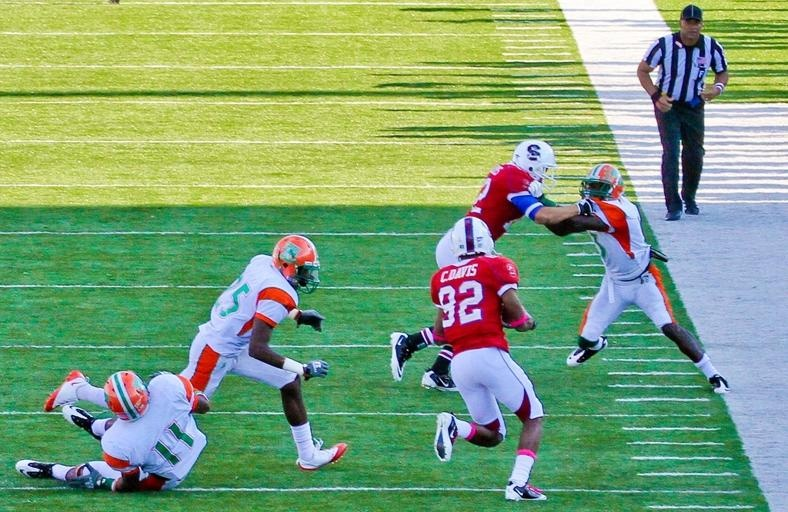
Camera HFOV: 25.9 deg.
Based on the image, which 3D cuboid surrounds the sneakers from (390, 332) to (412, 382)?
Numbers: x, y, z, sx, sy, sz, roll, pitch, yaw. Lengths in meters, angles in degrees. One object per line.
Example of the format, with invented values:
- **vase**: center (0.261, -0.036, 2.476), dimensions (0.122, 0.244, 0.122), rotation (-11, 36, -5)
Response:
- **sneakers**: center (0.024, 1.162, 19.762), dimensions (0.363, 0.508, 0.220), rotation (-3, -3, 15)

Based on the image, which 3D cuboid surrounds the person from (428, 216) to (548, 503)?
- **person**: center (0.980, 1.110, 18.538), dimensions (1.187, 3.005, 1.446), rotation (-2, 16, 3)

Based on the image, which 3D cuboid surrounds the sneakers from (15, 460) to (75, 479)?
- **sneakers**: center (-3.818, 2.319, 18.561), dimensions (0.751, 0.168, 0.222), rotation (6, -29, -6)

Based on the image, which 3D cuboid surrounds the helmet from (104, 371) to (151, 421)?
- **helmet**: center (-2.820, 1.488, 18.361), dimensions (0.512, 0.511, 0.532), rotation (-29, 8, -4)

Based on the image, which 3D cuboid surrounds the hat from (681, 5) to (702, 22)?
- **hat**: center (3.862, -3.161, 22.175), dimensions (0.271, 0.141, 0.306), rotation (3, 12, 6)

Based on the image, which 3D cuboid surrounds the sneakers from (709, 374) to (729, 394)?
- **sneakers**: center (3.766, 1.474, 19.720), dimensions (0.248, 0.215, 0.112), rotation (-6, 16, -16)

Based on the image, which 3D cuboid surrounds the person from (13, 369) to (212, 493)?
- **person**: center (-2.862, 1.925, 18.378), dimensions (1.754, 1.280, 0.414), rotation (-3, 16, -5)

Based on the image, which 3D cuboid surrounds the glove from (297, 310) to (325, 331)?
- **glove**: center (-0.906, 0.718, 18.794), dimensions (0.258, 0.290, 0.389), rotation (0, 13, 10)

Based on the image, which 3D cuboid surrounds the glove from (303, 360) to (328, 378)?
- **glove**: center (-0.865, 1.245, 18.752), dimensions (0.249, 0.203, 0.220), rotation (-2, 14, 2)

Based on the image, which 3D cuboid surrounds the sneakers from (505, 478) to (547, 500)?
- **sneakers**: center (1.372, 2.506, 18.343), dimensions (0.597, 0.214, 0.161), rotation (-1, 31, -6)

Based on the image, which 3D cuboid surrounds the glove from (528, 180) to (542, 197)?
- **glove**: center (1.622, -0.770, 19.634), dimensions (0.088, 0.218, 0.212), rotation (7, 17, 30)

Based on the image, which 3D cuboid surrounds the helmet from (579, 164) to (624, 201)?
- **helmet**: center (2.494, -0.883, 20.141), dimensions (0.578, 0.303, 0.378), rotation (0, 11, -18)

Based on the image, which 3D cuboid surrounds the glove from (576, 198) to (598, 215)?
- **glove**: center (2.189, -0.569, 19.789), dimensions (0.198, 0.174, 0.195), rotation (-4, 14, -6)

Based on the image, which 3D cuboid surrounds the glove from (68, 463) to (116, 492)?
- **glove**: center (-3.254, 2.395, 18.465), dimensions (0.479, 0.195, 0.115), rotation (9, -4, 16)
